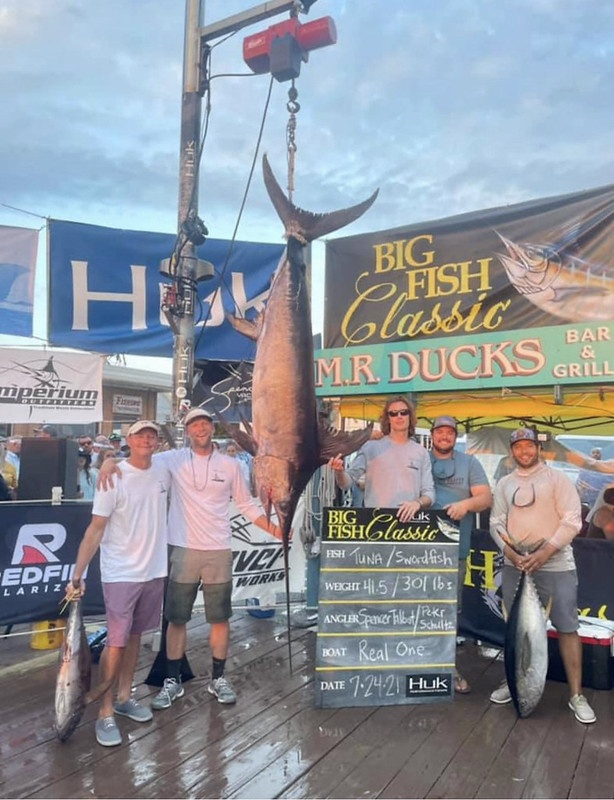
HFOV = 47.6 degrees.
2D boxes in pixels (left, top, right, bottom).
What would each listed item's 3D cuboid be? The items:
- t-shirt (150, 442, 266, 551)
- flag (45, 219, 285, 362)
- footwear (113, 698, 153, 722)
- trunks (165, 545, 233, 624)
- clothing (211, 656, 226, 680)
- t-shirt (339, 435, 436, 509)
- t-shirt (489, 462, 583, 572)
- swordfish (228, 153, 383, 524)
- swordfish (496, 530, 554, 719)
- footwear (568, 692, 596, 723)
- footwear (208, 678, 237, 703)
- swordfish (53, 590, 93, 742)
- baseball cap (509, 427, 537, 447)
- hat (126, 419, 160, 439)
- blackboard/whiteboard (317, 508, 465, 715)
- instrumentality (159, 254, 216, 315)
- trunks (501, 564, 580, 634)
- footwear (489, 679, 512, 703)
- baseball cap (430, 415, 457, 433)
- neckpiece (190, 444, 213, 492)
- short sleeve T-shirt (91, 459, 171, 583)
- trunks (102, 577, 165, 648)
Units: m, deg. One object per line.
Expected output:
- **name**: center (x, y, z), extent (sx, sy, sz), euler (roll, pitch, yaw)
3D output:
- **t-shirt**: center (-0.562, 0.532, 3.813), extent (0.990, 0.521, 0.243), euler (4, -11, -18)
- **flag**: center (-1.385, -0.900, 6.005), extent (1.754, 0.934, 0.118), euler (6, -6, -17)
- **footwear**: center (-0.869, 1.570, 3.532), extent (0.207, 0.072, 0.082), euler (-3, -18, 30)
- **trunks**: center (-0.586, 1.001, 3.743), extent (0.344, 0.424, 0.130), euler (0, -1, -14)
- **clothing**: center (-0.483, 1.456, 3.779), extent (0.065, 0.130, 0.042), euler (0, -1, 1)
- **t-shirt**: center (0.473, 0.437, 3.956), extent (0.504, 0.435, 0.275), euler (11, -10, 0)
- **t-shirt**: center (1.268, 0.638, 3.907), extent (0.507, 0.538, 0.316), euler (-7, -1, 31)
- **swordfish**: center (-0.009, -0.241, 3.142), extent (0.541, 1.695, 0.473), euler (0, -1, -20)
- **swordfish**: center (1.142, 1.279, 3.653), extent (0.209, 0.729, 0.262), euler (0, -1, 15)
- **footwear**: center (1.404, 1.588, 3.560), extent (0.071, 0.065, 0.157), euler (-6, -16, -5)
- **footwear**: center (-0.454, 1.573, 3.768), extent (0.085, 0.074, 0.167), euler (21, -26, -35)
- **swordfish**: center (-1.111, 1.261, 3.300), extent (0.152, 0.689, 0.283), euler (0, -1, -20)
- **baseball cap**: center (1.215, 0.206, 3.898), extent (0.153, 0.094, 0.169), euler (0, -1, 0)
- **hat**: center (-0.854, 0.150, 3.579), extent (0.104, 0.056, 0.135), euler (4, -6, -25)
- **blackboard/whiteboard**: center (0.421, 1.144, 3.718), extent (1.098, 1.318, 0.067), euler (3, -14, -8)
- **instrumentality**: center (-0.823, -0.792, 4.651), extent (0.416, 0.295, 0.401), euler (2, -2, -12)
- **trunks**: center (1.244, 1.059, 3.725), extent (0.492, 0.432, 0.146), euler (0, -6, 14)
- **footwear**: center (1.074, 1.610, 3.823), extent (0.072, 0.074, 0.186), euler (-12, -21, 34)
- **baseball cap**: center (0.832, 0.142, 4.263), extent (0.146, 0.086, 0.196), euler (0, -1, 8)
- **neckpiece**: center (-0.574, 0.390, 3.753), extent (0.096, 0.188, 0.072), euler (0, -1, -9)
- **short sleeve T-shirt**: center (-0.885, 0.615, 3.542), extent (0.449, 0.600, 0.249), euler (1, -1, -34)
- **trunks**: center (-0.881, 1.039, 3.505), extent (0.191, 0.313, 0.341), euler (-6, -2, 27)
